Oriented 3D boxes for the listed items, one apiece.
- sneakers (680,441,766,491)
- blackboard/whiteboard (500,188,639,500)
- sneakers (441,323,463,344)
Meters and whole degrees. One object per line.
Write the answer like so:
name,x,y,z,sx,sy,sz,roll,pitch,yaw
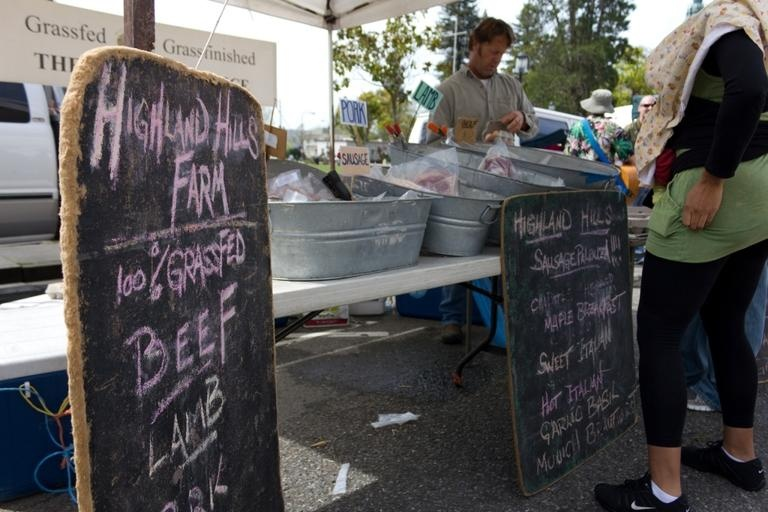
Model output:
sneakers,1.617,0.981,3.259,0.152,0.179,0.425,-9,12,-35
blackboard/whiteboard,0.865,0.412,3.097,0.075,1.520,1.300,-2,3,40
sneakers,0.507,0.576,4.893,0.114,0.107,0.246,-1,-8,0
